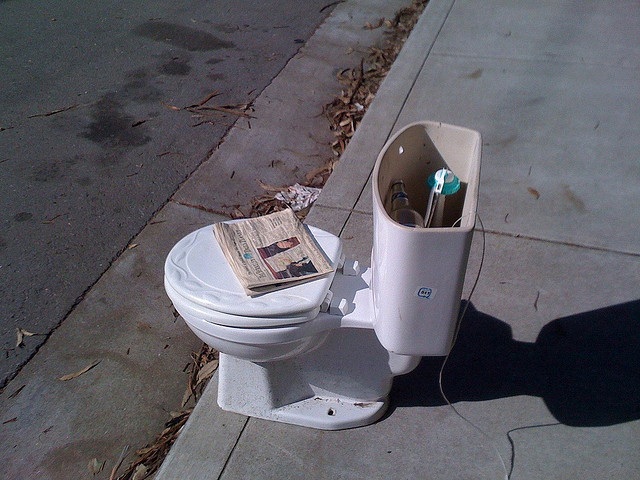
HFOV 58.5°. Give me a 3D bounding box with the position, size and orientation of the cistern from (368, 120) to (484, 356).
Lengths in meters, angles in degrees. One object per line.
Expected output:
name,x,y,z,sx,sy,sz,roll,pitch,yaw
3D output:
cistern,0.456,0.060,2.626,0.475,0.877,0.813,3,52,7

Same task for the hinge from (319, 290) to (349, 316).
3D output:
hinge,0.066,0.287,2.633,0.135,0.080,0.081,1,37,10

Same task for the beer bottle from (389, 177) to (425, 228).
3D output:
beer bottle,0.378,-0.175,2.537,0.145,0.148,0.349,-6,40,-2

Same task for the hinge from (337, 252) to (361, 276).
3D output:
hinge,0.143,0.127,2.848,0.118,0.128,0.078,0,47,12
